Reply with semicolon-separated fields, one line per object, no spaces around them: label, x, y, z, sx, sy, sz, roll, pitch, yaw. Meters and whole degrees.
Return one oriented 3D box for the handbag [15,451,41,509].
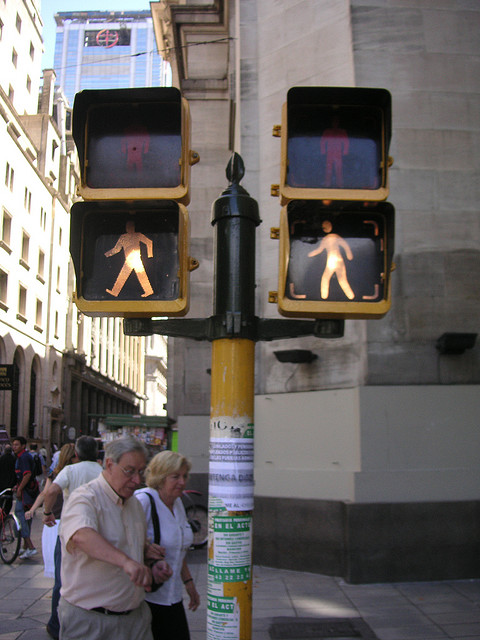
handbag;-3.155;2.463;13.853;0.264;0.978;0.389;-6;-1;-34

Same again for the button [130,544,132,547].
button;-0.690;1.424;5.979;0.017;0.027;0.008;1;-14;-6

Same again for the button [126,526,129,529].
button;-0.715;1.311;5.983;0.012;0.026;0.009;14;18;18

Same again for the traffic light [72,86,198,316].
traffic light;-0.673;-0.744;6.012;0.784;1.434;0.472;0;-9;-3

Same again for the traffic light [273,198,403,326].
traffic light;0.570;-0.408;5.995;0.627;0.866;0.471;3;-33;1
